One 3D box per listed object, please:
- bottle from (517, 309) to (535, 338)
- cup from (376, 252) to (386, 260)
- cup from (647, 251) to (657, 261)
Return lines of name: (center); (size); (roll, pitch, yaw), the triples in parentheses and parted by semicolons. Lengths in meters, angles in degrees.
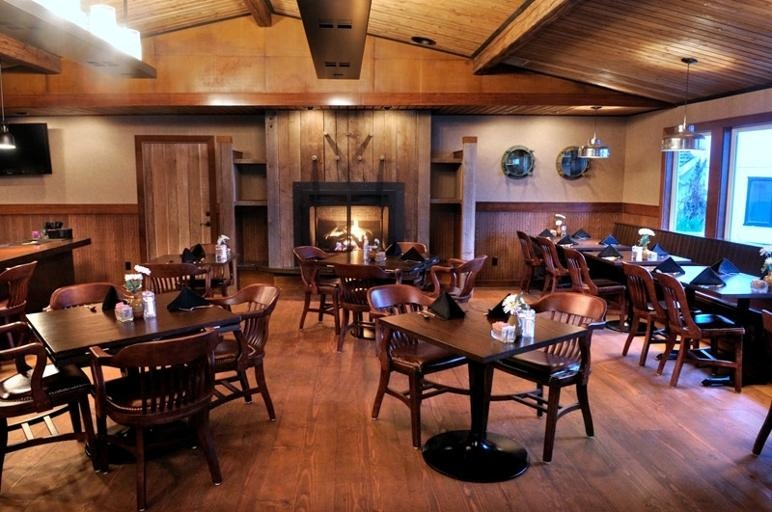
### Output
bottle: (1.165, 0.548, 4.592); (0.186, 0.232, 0.084); (-6, 11, -25)
cup: (-0.064, -0.016, 7.203); (0.152, 0.129, 0.081); (0, 11, -8)
cup: (3.474, 0.013, 7.350); (0.137, 0.113, 0.074); (1, 5, -6)
